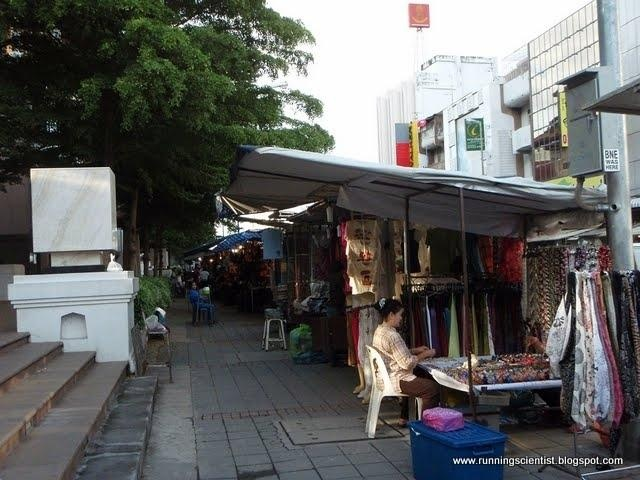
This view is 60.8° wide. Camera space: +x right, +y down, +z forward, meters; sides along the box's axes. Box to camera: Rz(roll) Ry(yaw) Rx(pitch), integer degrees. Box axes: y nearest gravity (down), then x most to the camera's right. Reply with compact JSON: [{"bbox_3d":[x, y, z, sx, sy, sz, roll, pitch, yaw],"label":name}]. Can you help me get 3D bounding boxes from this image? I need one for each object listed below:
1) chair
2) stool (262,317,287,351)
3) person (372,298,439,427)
[{"bbox_3d":[0.927,1.832,6.693,0.614,0.930,0.546,0,2,8],"label":"chair"},{"bbox_3d":[-1.146,2.259,13.638,0.727,1.068,0.718,-1,2,-8],"label":"stool"},{"bbox_3d":[1.054,1.591,6.812,0.810,1.640,0.778,0,-3,4],"label":"person"}]
